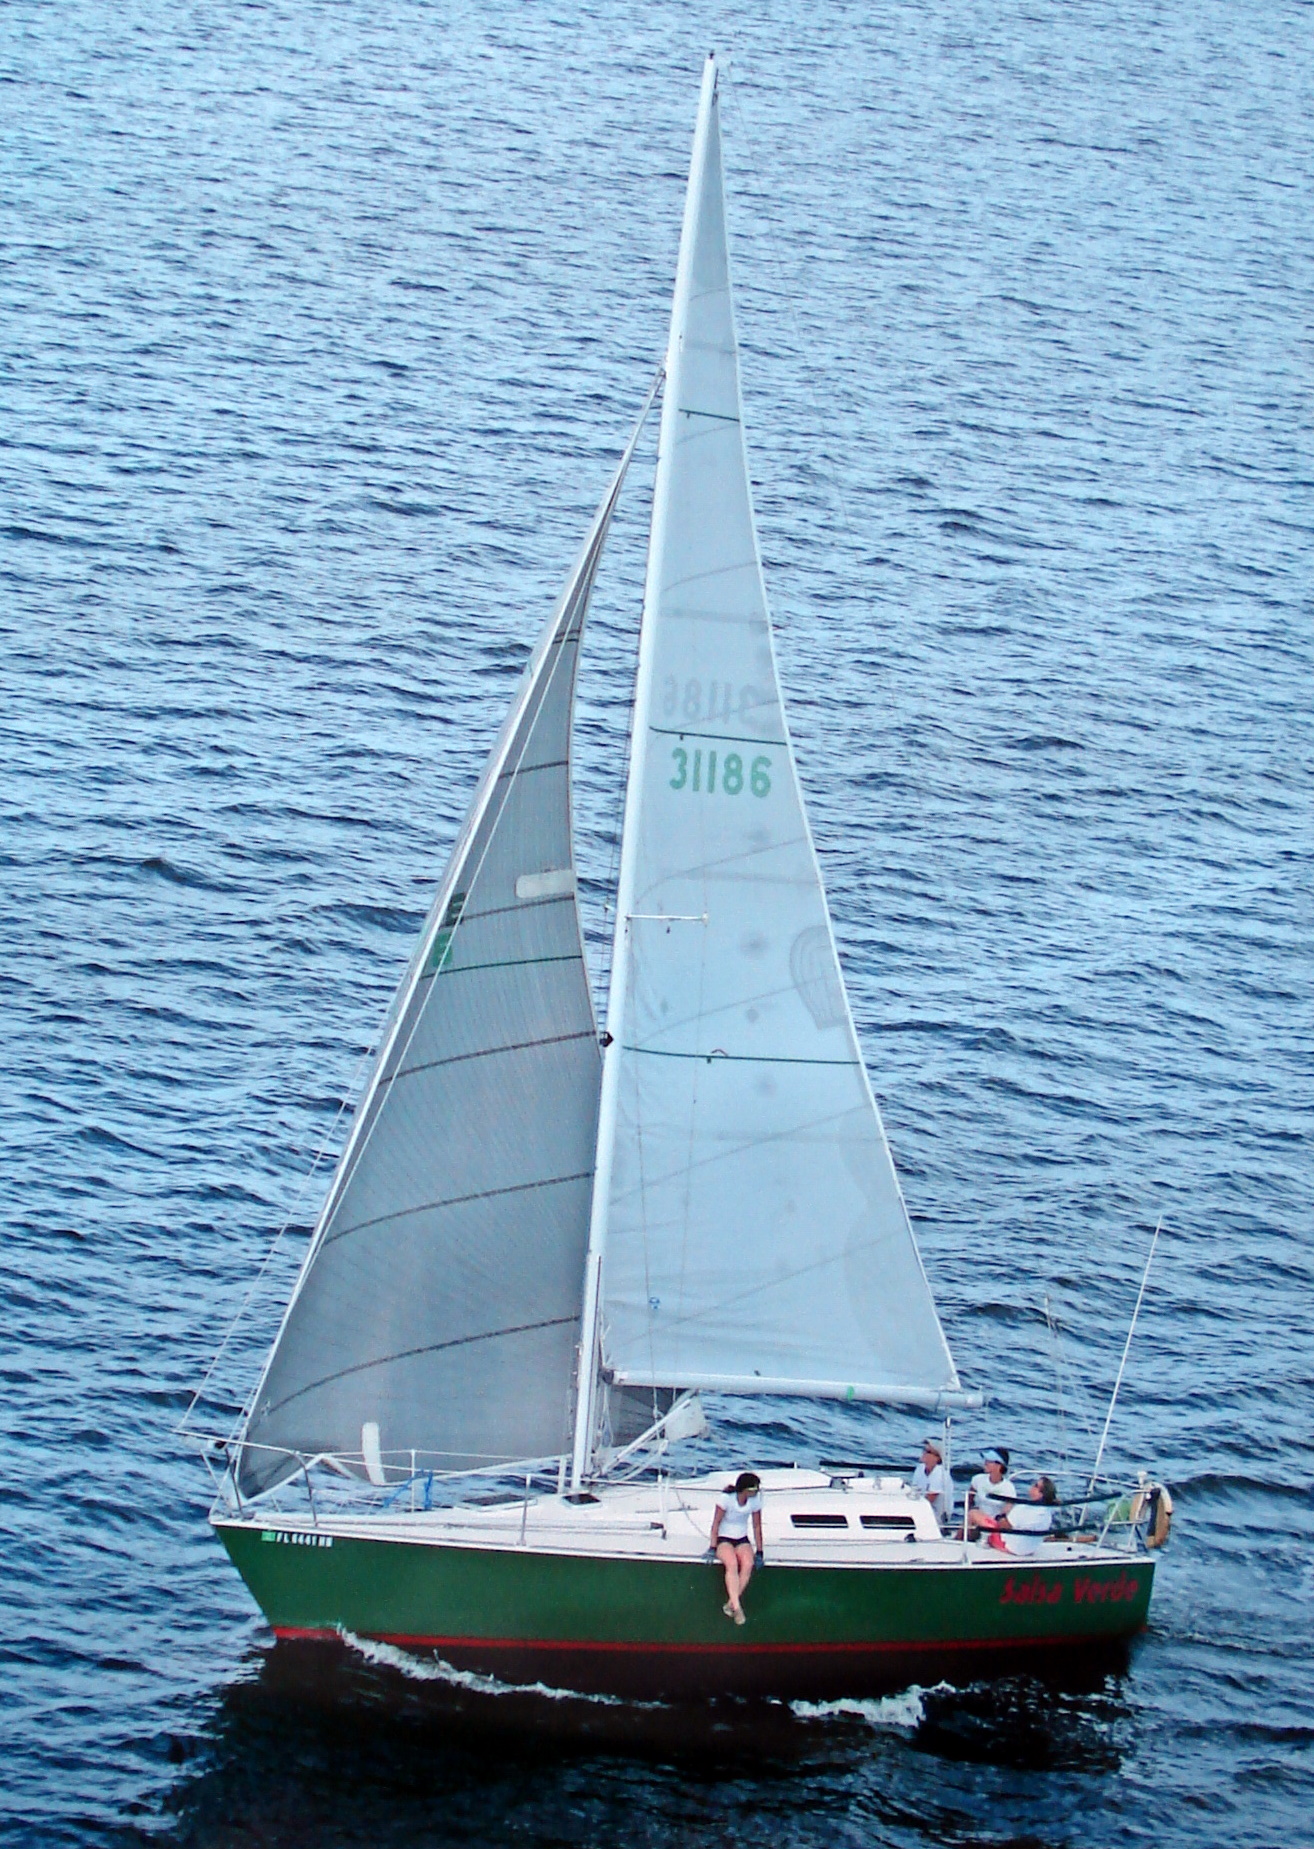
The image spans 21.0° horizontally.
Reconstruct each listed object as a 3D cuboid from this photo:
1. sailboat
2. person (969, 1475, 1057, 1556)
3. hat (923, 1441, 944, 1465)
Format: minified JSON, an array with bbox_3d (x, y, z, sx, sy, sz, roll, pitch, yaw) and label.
[{"bbox_3d":[0.002,2.030,36.586,8.413,12.612,5.698,-3,28,-7],"label":"sailboat"},{"bbox_3d":[3.828,6.314,37.723,0.561,1.030,0.598,21,35,38],"label":"person"},{"bbox_3d":[2.971,5.721,38.203,0.198,0.261,0.256,-6,14,12],"label":"hat"}]
